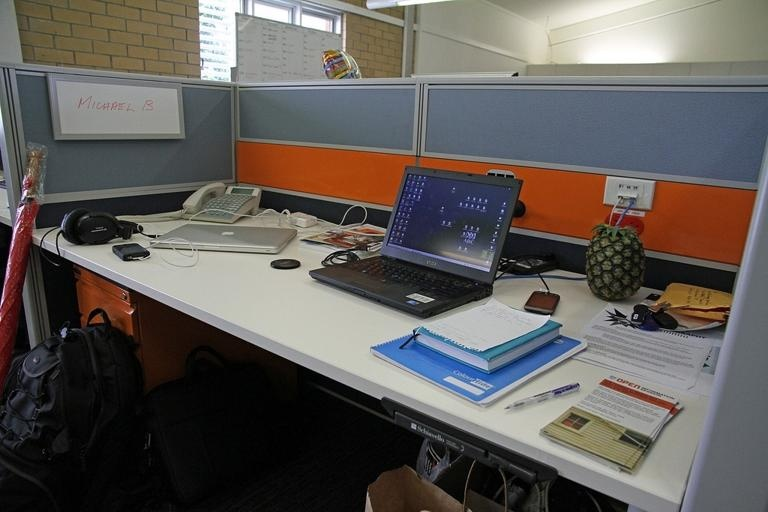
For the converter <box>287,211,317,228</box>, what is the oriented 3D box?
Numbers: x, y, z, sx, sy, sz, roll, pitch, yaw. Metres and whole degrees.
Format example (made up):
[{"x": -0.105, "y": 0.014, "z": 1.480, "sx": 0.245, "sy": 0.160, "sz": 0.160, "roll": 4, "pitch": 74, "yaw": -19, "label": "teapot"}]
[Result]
[{"x": -0.349, "y": -0.173, "z": 2.192, "sx": 0.095, "sy": 0.032, "sz": 0.073, "roll": 17, "pitch": 21, "yaw": 38, "label": "converter"}]

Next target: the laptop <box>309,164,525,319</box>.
[{"x": 0.118, "y": -0.049, "z": 1.618, "sx": 0.536, "sy": 0.396, "sz": 0.593, "roll": -9, "pitch": 20, "yaw": -44, "label": "laptop"}]

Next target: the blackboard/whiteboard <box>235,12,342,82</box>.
[{"x": -0.956, "y": -2.004, "z": 4.965, "sx": 1.005, "sy": 0.564, "sz": 0.027, "roll": -12, "pitch": 32, "yaw": -36, "label": "blackboard/whiteboard"}]

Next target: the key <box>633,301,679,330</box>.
[{"x": 0.759, "y": 0.174, "z": 1.392, "sx": 0.070, "sy": 0.027, "sz": 0.096, "roll": -17, "pitch": 27, "yaw": -28, "label": "key"}]

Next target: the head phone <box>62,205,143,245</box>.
[{"x": -1.041, "y": -0.104, "z": 1.801, "sx": 0.160, "sy": 0.081, "sz": 0.182, "roll": 9, "pitch": 10, "yaw": 38, "label": "head phone"}]

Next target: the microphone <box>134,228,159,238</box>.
[{"x": -0.924, "y": -0.084, "z": 1.935, "sx": 0.065, "sy": 0.021, "sz": 0.052, "roll": 0, "pitch": 8, "yaw": 7, "label": "microphone"}]

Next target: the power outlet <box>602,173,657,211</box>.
[{"x": 0.816, "y": -0.211, "z": 1.644, "sx": 0.124, "sy": 0.083, "sz": 0.023, "roll": 11, "pitch": 20, "yaw": 32, "label": "power outlet"}]

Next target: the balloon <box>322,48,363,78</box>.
[{"x": -0.187, "y": -0.849, "z": 2.228, "sx": 0.152, "sy": 0.134, "sz": 0.291, "roll": 1, "pitch": 19, "yaw": -14, "label": "balloon"}]

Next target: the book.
[{"x": 0.254, "y": 0.233, "z": 1.225, "sx": 0.313, "sy": 0.060, "sz": 0.277, "roll": -16, "pitch": 24, "yaw": -36, "label": "book"}]
